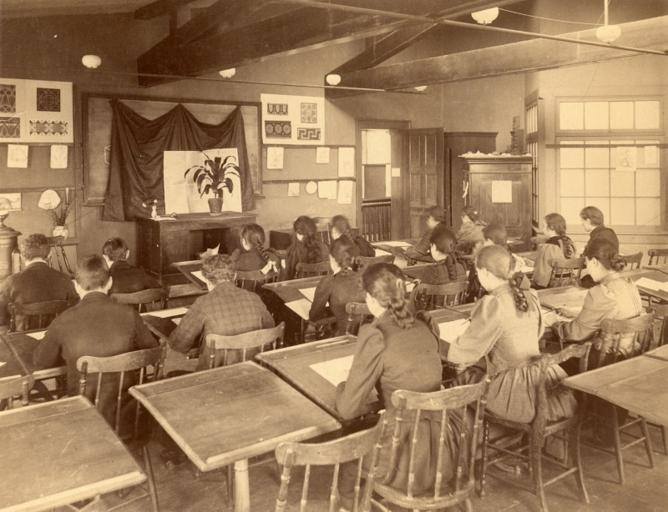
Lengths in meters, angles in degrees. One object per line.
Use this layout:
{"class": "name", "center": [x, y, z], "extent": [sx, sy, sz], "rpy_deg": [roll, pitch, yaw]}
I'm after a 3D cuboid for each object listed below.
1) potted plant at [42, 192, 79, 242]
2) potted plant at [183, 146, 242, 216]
{"class": "potted plant", "center": [-3.660, -0.572, 7.732], "extent": [0.537, 0.812, 0.513], "rpy_deg": [-2, 3, -13]}
{"class": "potted plant", "center": [-1.810, -1.148, 8.771], "extent": [0.843, 0.861, 0.828], "rpy_deg": [-3, 5, -33]}
